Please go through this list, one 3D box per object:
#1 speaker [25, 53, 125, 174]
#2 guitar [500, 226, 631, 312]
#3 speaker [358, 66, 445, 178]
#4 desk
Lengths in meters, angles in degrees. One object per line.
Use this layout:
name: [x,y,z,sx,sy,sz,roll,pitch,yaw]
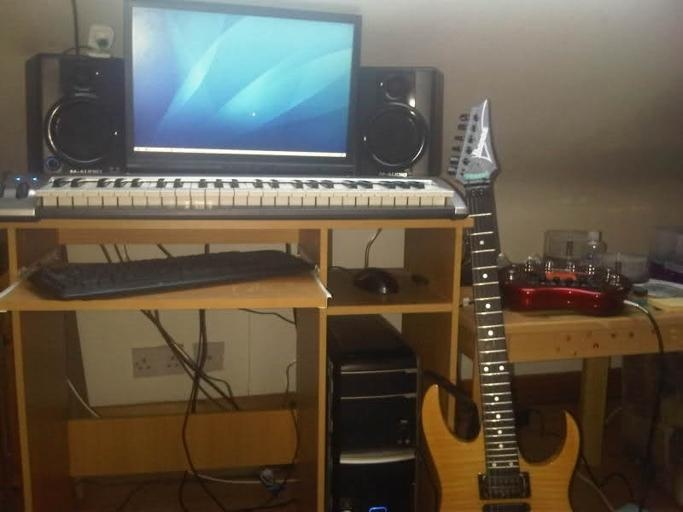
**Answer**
speaker: [-0.795,-0.445,1.942,0.245,0.348,0.198,-5,29,-29]
guitar: [0.718,0.041,2.012,0.278,0.184,0.381,-2,10,5]
speaker: [0.177,-0.471,2.079,0.292,0.364,0.196,2,36,6]
desk: [0.710,0.383,1.956,0.556,0.523,0.329,-1,7,-6]
